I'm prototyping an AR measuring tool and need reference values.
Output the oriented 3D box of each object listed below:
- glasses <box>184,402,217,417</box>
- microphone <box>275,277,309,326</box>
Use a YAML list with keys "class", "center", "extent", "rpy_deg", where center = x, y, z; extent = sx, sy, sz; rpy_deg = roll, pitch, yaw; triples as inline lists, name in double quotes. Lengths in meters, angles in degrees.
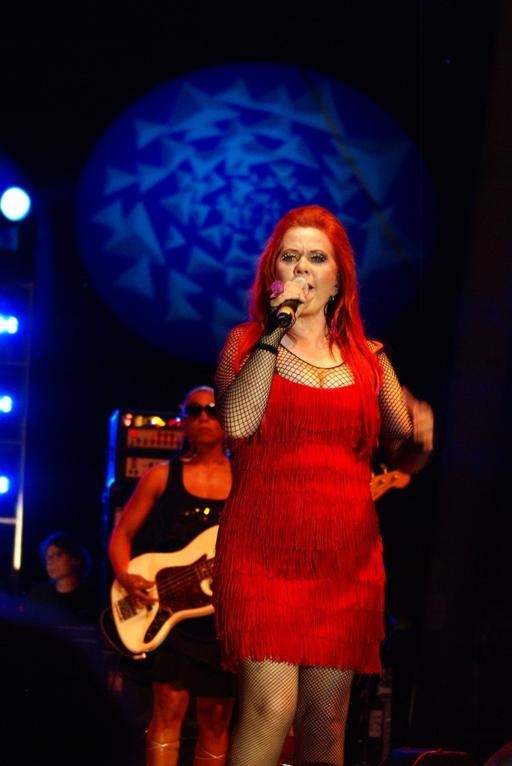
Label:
- class: "glasses"
  center: [-0.232, 0.118, 2.806]
  extent: [0.120, 0.048, 0.125]
  rpy_deg: [2, -36, -4]
- class: "microphone"
  center: [0.065, -0.144, 1.205]
  extent: [0.046, 0.038, 0.102]
  rpy_deg: [2, 32, 18]
